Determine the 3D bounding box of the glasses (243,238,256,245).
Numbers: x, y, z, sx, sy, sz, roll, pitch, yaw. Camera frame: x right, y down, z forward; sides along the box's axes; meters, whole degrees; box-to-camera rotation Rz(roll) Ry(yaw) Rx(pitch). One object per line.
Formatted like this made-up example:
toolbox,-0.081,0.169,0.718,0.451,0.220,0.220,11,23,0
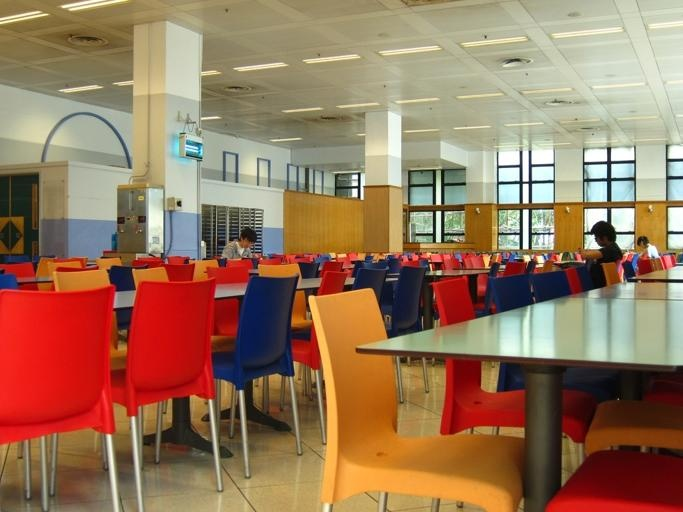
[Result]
glasses,-1.273,-0.198,8.450,0.114,0.116,0.089,0,2,40
